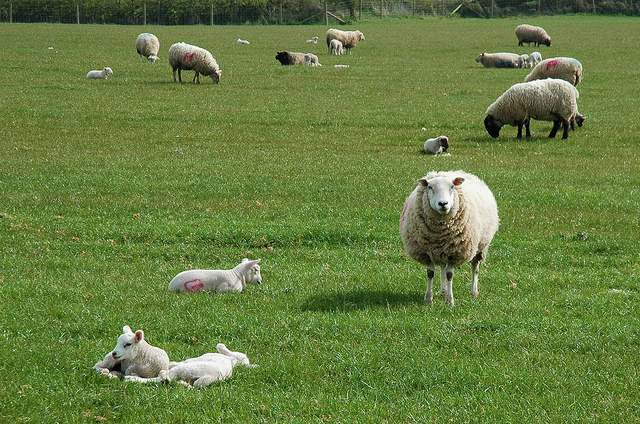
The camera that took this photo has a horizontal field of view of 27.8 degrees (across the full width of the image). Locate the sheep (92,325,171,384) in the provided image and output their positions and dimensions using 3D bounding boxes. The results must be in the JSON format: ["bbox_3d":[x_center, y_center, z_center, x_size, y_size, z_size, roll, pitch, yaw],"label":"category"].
[{"bbox_3d":[-11.493,9.497,83.685,4.649,3.653,3.151,9,4,-41],"label":"sheep"}]

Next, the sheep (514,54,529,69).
[{"bbox_3d":[20.180,-15.152,129.651,0.490,0.981,1.892,17,49,41],"label":"sheep"}]

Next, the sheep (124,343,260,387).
[{"bbox_3d":[-8.115,9.849,83.759,7.138,2.624,3.229,0,13,-13],"label":"sheep"}]

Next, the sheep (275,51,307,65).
[{"bbox_3d":[-2.819,-15.650,131.464,3.092,1.786,1.310,3,6,-16],"label":"sheep"}]

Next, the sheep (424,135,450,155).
[{"bbox_3d":[9.422,-5.509,102.819,2.059,1.572,1.047,3,23,32],"label":"sheep"}]
